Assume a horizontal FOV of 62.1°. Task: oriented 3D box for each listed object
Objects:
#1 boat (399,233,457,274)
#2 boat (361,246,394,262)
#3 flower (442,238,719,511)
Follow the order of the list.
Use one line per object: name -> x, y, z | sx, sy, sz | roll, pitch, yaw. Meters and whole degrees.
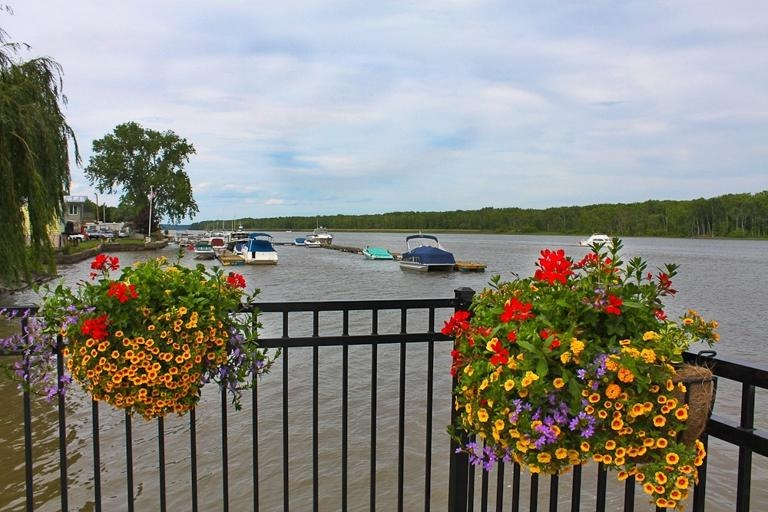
boat -> 3.188, -0.007, 47.579 | 3.438, 2.753, 7.906 | -2, 1, -10
boat -> -0.411, -0.214, 59.438 | 2.857, 1.275, 4.878 | 2, -1, 0
flower -> 1.431, 0.848, 4.757 | 1.748, 1.936, 0.610 | 2, 0, 1
